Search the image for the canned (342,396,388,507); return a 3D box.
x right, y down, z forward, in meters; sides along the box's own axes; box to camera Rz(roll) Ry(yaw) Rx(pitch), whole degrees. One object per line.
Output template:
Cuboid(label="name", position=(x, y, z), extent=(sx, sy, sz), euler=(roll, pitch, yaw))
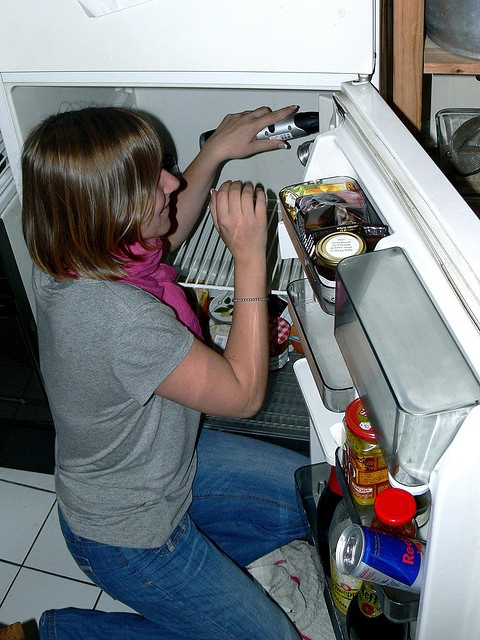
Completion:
Cuboid(label="canned", position=(0.150, 0.159, 0.604), extent=(0.042, 0.122, 0.094), euler=(-9, 42, -1))

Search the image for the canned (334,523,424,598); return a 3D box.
Cuboid(label="canned", position=(0.136, 0.233, 0.482), extent=(0.082, 0.083, 0.056), euler=(9, 45, 18))
